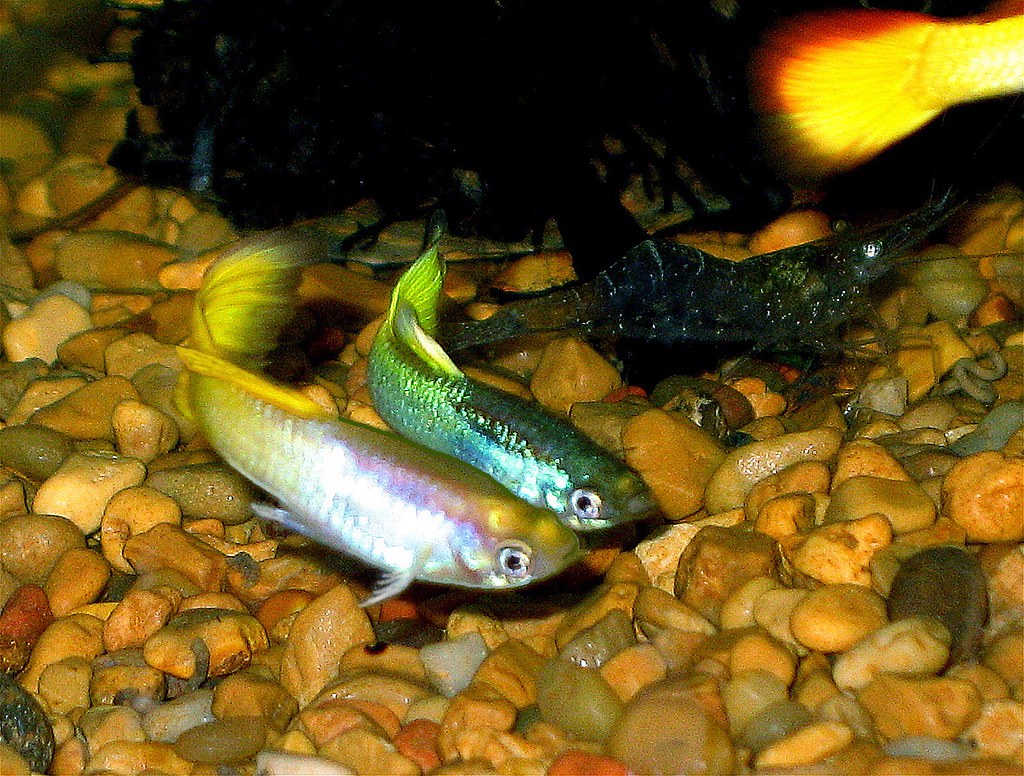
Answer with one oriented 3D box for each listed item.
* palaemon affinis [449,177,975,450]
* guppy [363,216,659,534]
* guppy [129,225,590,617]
[{"bbox_3d":[0.831,-0.359,5.866,2.760,0.792,0.732,-10,22,15],"label":"palaemon affinis"},{"bbox_3d":[-0.255,0.064,4.699,0.841,0.413,1.551,-5,30,-44],"label":"guppy"},{"bbox_3d":[-0.522,0.018,4.109,1.742,0.689,0.706,34,27,28],"label":"guppy"}]
